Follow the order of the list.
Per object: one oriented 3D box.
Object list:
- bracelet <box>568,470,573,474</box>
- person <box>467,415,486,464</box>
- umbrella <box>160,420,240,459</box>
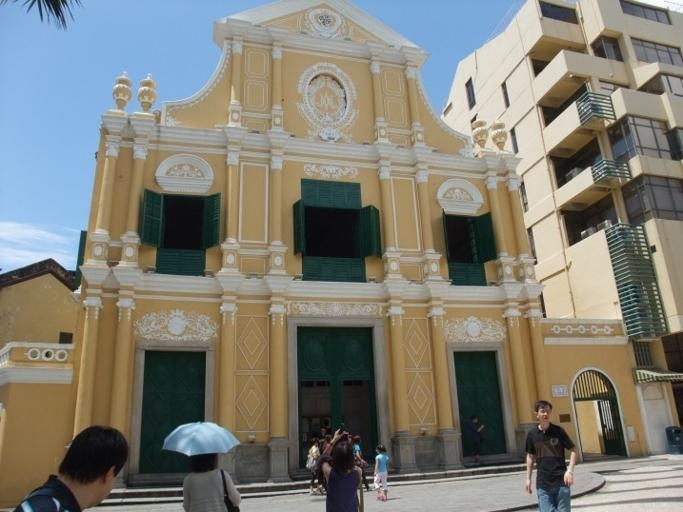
[{"bbox_3d":[3.065,2.906,6.829,0.051,0.037,0.049,4,-8,-15],"label":"bracelet"},{"bbox_3d":[4.386,5.925,16.467,0.498,1.459,0.598,-7,-16,12],"label":"person"},{"bbox_3d":[-1.794,2.341,6.522,0.889,0.378,0.791,2,-17,-19],"label":"umbrella"}]
